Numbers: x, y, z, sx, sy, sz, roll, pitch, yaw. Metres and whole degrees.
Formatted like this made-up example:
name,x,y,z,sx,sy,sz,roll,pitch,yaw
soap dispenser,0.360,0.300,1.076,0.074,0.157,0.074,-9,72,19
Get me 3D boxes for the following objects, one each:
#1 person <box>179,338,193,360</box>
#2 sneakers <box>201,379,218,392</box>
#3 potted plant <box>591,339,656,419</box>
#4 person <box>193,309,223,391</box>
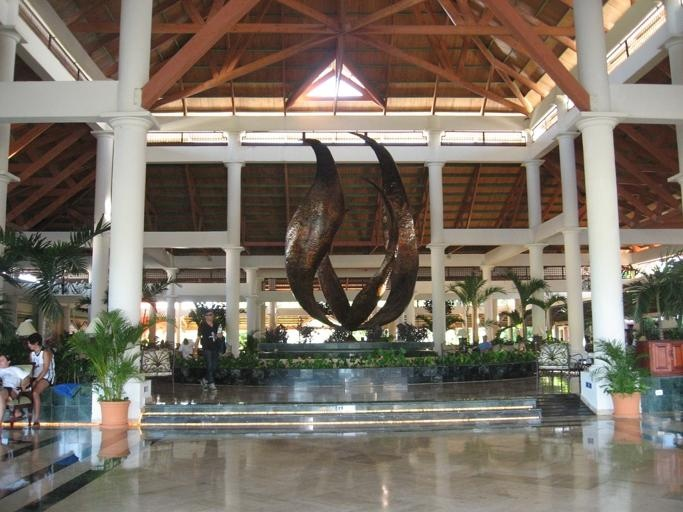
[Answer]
name,x,y,z,sx,sy,sz,roll,pitch,yaw
person,-4.167,2.436,16.760,0.325,0.617,1.512,0,-1,-15
sneakers,-2.770,2.701,13.081,0.198,0.279,0.641,27,-26,-31
potted plant,4.568,2.017,10.404,0.585,1.190,0.752,0,-1,-28
person,-2.592,1.864,12.525,0.664,1.551,0.501,-3,-4,16
